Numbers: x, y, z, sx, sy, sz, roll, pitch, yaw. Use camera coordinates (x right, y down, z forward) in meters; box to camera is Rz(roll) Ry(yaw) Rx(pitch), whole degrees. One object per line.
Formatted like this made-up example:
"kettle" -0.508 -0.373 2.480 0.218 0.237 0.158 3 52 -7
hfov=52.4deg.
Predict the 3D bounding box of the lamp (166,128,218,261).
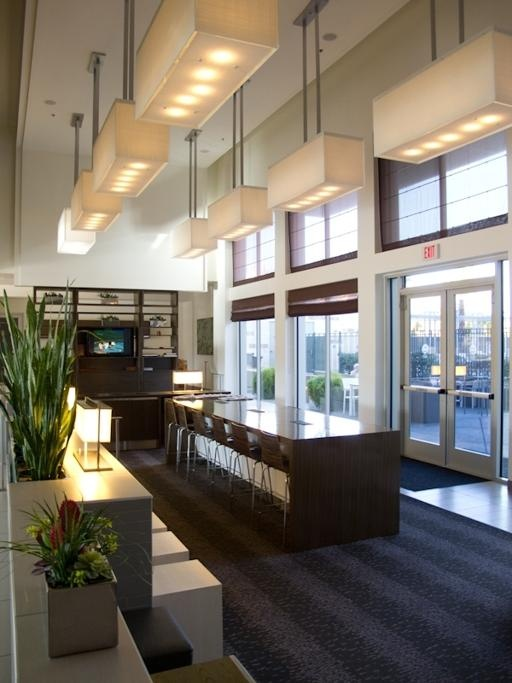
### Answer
"lamp" -1.108 -2.492 8.628 0.565 3.470 1.774 1 -6 -17

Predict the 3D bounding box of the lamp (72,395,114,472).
"lamp" -0.966 0.601 3.176 0.130 0.398 0.492 1 -13 -17

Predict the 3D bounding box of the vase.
"vase" -0.384 0.502 1.146 0.132 0.219 0.288 1 -3 -16
